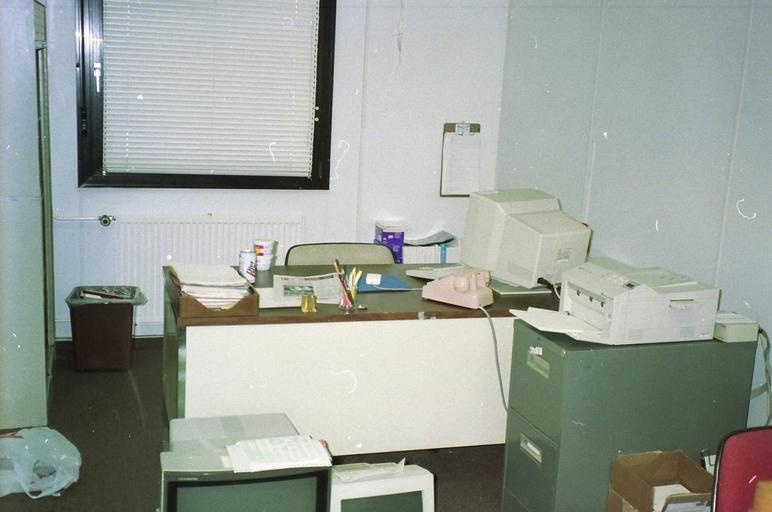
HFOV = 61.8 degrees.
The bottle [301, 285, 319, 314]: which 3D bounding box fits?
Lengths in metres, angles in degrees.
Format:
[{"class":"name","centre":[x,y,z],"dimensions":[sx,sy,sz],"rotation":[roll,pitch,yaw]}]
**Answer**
[{"class":"bottle","centre":[-0.385,0.226,3.312],"dimensions":[0.094,0.172,0.097],"rotation":[-1,3,0]}]

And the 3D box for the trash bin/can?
[{"class":"trash bin/can","centre":[-1.965,0.511,4.756],"dimensions":[0.538,0.563,0.541],"rotation":[0,6,-12]}]

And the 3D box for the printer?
[{"class":"printer","centre":[1.230,0.214,3.177],"dimensions":[0.454,0.255,0.505],"rotation":[-2,11,-12]}]

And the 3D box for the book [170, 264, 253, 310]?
[{"class":"book","centre":[-0.887,0.128,3.239],"dimensions":[0.252,0.098,0.318],"rotation":[-1,15,-24]}]

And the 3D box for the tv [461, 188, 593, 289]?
[{"class":"tv","centre":[0.791,-0.152,3.739],"dimensions":[0.603,0.530,0.587],"rotation":[-9,27,-24]}]
